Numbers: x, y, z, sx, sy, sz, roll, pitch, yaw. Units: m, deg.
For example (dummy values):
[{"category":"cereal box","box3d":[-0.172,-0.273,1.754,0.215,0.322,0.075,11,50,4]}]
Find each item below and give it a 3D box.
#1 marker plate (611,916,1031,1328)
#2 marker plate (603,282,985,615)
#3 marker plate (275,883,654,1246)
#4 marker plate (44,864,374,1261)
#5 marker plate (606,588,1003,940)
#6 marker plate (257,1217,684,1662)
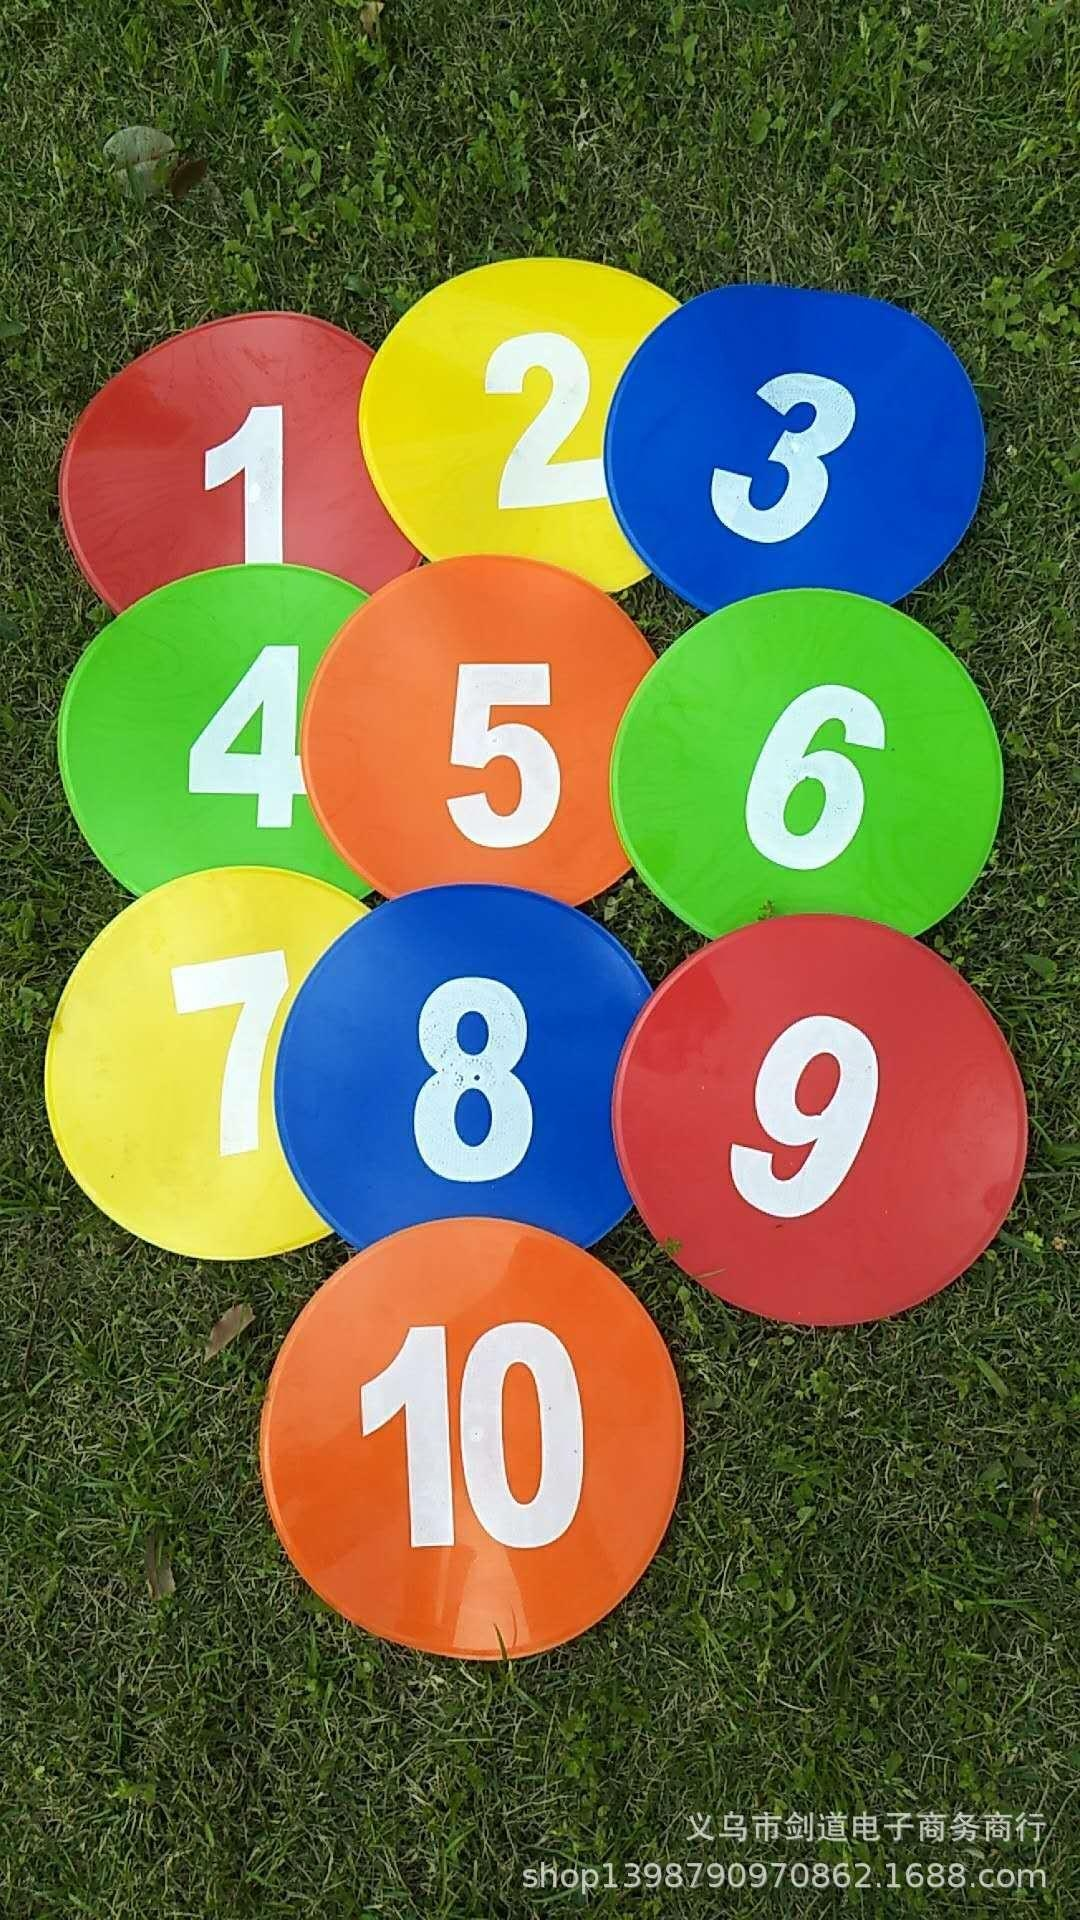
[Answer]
[{"category":"marker plate","box3d":[0.347,0.199,2.357,0.463,0.234,0.479,40,75,23]},{"category":"marker plate","box3d":[0.331,-0.676,2.474,0.486,0.188,0.394,-7,63,3]},{"category":"marker plate","box3d":[-0.110,0.134,2.354,0.418,0.210,0.398,-4,63,5]},{"category":"marker plate","box3d":[-0.399,0.131,2.377,0.516,0.027,0.505,-1,89,4]},{"category":"marker plate","box3d":[0.338,-0.247,2.410,0.492,0.217,0.392,-5,63,4]},{"category":"marker plate","box3d":[-0.083,0.576,2.301,0.489,0.224,0.477,6,65,10]}]
